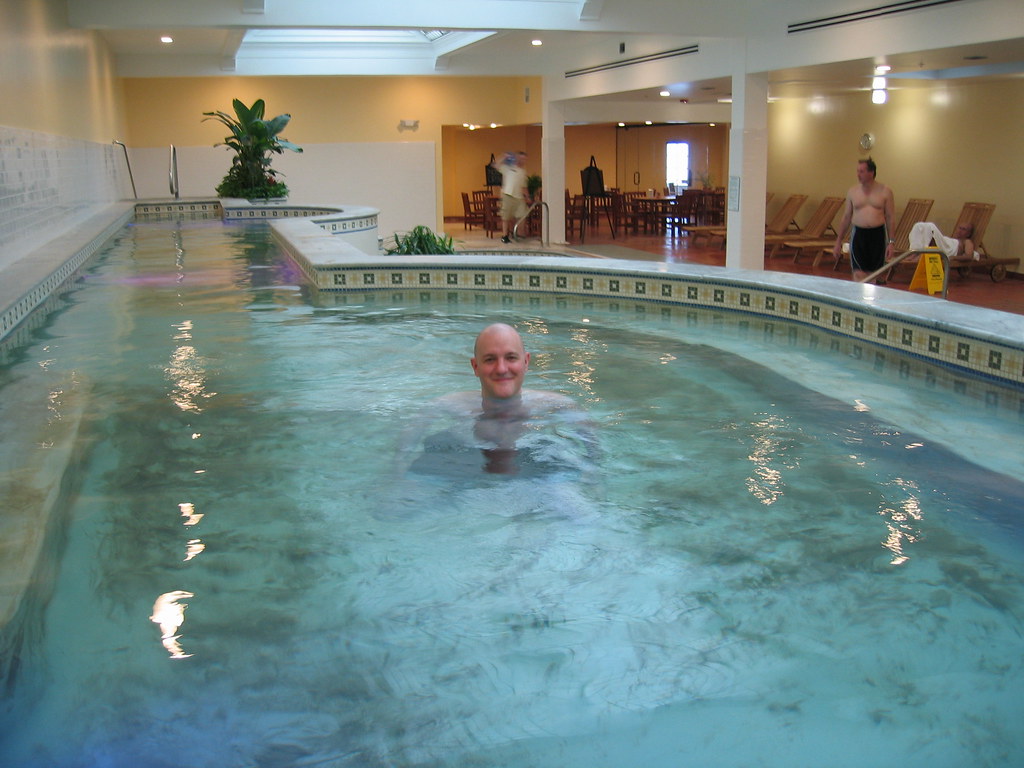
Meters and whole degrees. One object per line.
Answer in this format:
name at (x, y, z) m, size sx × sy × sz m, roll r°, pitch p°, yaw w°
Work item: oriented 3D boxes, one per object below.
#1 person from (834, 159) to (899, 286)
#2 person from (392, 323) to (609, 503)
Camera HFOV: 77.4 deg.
person at (4.665, -2.163, 8.456) m, size 0.670 × 1.537 × 1.504 m, roll 8°, pitch 16°, yaw 28°
person at (-0.095, 0.130, 3.421) m, size 1.166 × 0.806 × 0.655 m, roll 1°, pitch 6°, yaw -3°
